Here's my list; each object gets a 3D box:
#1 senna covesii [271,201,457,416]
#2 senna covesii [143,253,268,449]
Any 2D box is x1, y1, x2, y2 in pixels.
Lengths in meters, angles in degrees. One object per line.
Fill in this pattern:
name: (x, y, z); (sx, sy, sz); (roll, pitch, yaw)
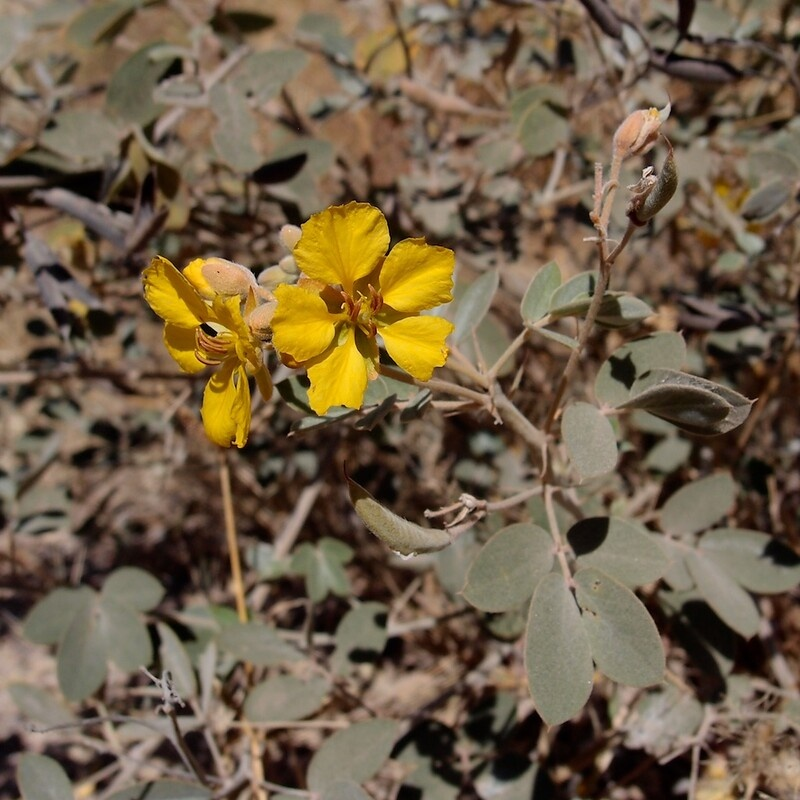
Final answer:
senna covesii: (-0.078, -0.161, 1.737); (0.116, 0.329, 0.394); (-20, 36, -41)
senna covesii: (-0.363, -0.108, 1.775); (0.151, 0.350, 0.332); (-17, 75, -28)
